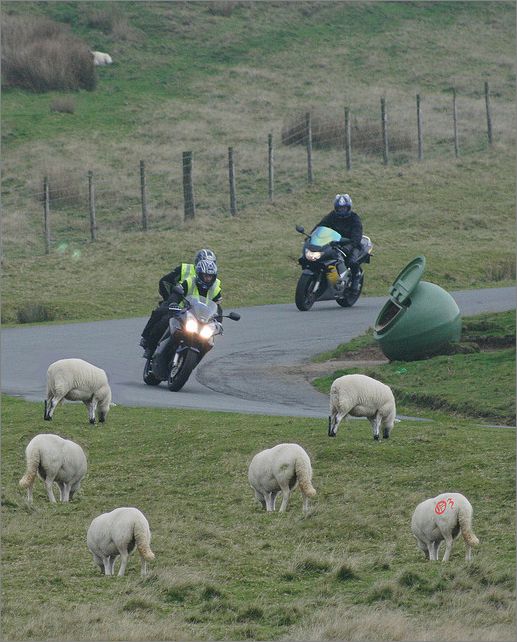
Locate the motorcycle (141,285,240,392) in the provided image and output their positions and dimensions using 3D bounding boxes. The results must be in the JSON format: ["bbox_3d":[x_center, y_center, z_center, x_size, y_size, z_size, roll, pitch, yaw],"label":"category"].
[{"bbox_3d":[-1.733,0.526,43.681,1.642,2.189,0.956,4,7,42],"label":"motorcycle"}]

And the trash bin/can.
[{"bbox_3d":[3.742,0.078,44.606,2.177,2.959,2.240,-4,13,0],"label":"trash bin/can"}]

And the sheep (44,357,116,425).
[{"bbox_3d":[-3.658,1.490,40.515,1.047,1.470,1.376,1,17,-10],"label":"sheep"}]

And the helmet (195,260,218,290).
[{"bbox_3d":[-1.175,-1.031,43.720,0.445,0.691,0.294,-1,5,-4],"label":"helmet"}]

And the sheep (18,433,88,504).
[{"bbox_3d":[-3.966,2.716,38.022,1.141,1.401,1.432,-10,16,-30],"label":"sheep"}]

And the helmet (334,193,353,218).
[{"bbox_3d":[2.250,-3.154,52.608,0.412,0.555,0.584,-2,32,7],"label":"helmet"}]

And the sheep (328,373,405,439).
[{"bbox_3d":[2.027,1.819,39.638,1.129,1.388,1.462,9,16,42],"label":"sheep"}]
